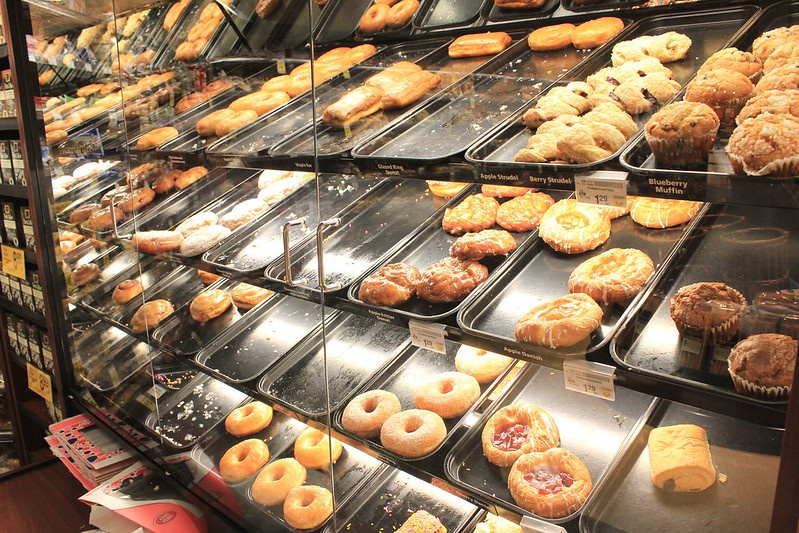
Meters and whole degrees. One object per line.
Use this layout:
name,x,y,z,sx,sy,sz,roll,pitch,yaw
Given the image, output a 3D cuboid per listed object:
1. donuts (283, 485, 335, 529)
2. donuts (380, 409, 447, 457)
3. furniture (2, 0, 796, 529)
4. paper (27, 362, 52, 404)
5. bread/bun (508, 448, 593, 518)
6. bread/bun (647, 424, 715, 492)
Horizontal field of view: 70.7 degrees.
donuts,-0.356,0.983,2.338,0.192,0.057,0.184,-28,41,-27
donuts,0.051,0.609,2.066,0.209,0.080,0.189,-33,34,-30
furniture,-0.011,-0.028,2.171,2.936,1.489,0.832,8,22,30
paper,-2.395,0.763,3.743,0.006,0.207,0.404,-16,24,-42
bread/bun,0.503,0.720,1.870,0.264,0.087,0.213,-13,29,1
bread/bun,0.900,0.609,1.794,0.183,0.134,0.186,-5,31,18
